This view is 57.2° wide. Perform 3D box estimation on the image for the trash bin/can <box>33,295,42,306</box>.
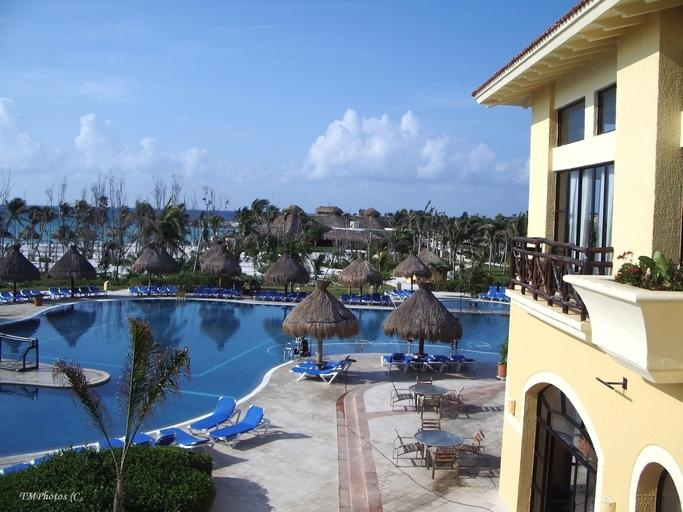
[{"bbox_3d":[-16.873,2.483,34.919,0.506,0.571,0.553,1,-2,-2],"label":"trash bin/can"}]
